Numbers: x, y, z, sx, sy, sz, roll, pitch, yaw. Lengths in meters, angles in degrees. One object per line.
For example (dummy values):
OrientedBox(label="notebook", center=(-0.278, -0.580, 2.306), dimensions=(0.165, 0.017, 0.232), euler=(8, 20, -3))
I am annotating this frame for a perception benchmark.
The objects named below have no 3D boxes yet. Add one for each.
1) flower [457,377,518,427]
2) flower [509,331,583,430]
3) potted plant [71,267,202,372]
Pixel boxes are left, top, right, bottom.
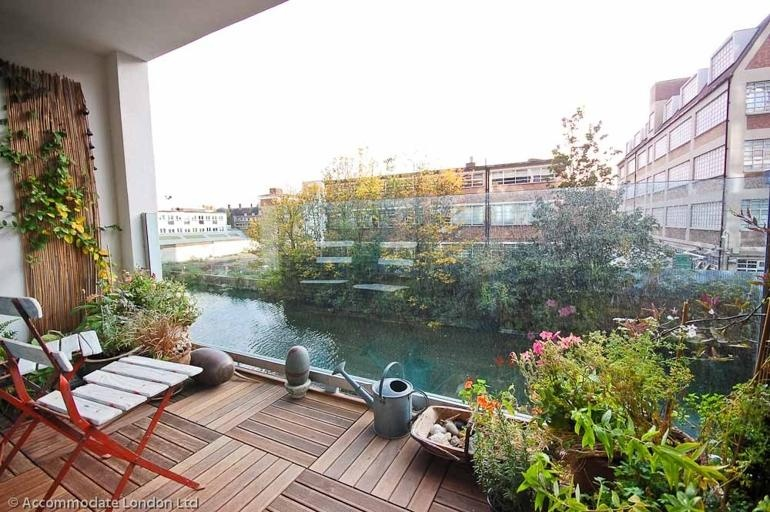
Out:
OrientedBox(label="flower", center=(0.810, 1.115, 3.560), dimensions=(0.413, 0.414, 0.210), euler=(-17, -25, 16))
OrientedBox(label="flower", center=(1.188, 0.876, 3.296), dimensions=(0.458, 0.583, 0.620), euler=(0, 5, 12))
OrientedBox(label="potted plant", center=(-2.571, 0.640, 4.744), dimensions=(1.005, 0.770, 1.009), euler=(0, 5, -33))
